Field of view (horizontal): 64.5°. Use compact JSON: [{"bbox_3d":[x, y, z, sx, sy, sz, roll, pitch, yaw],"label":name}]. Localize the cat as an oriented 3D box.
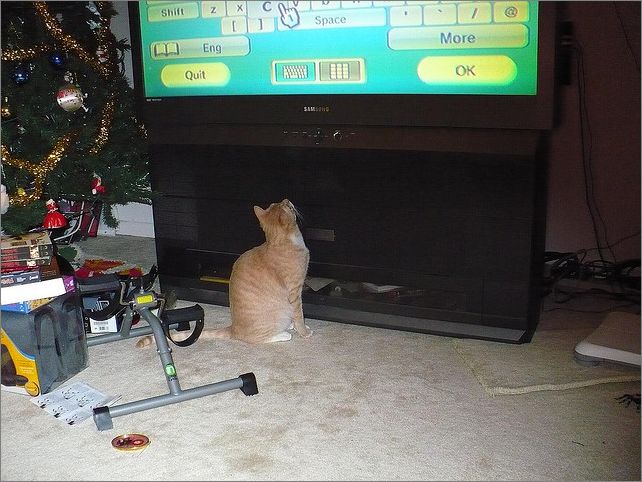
[{"bbox_3d":[-0.278,0.144,2.204,0.444,0.603,0.244,-3,19,0],"label":"cat"}]
